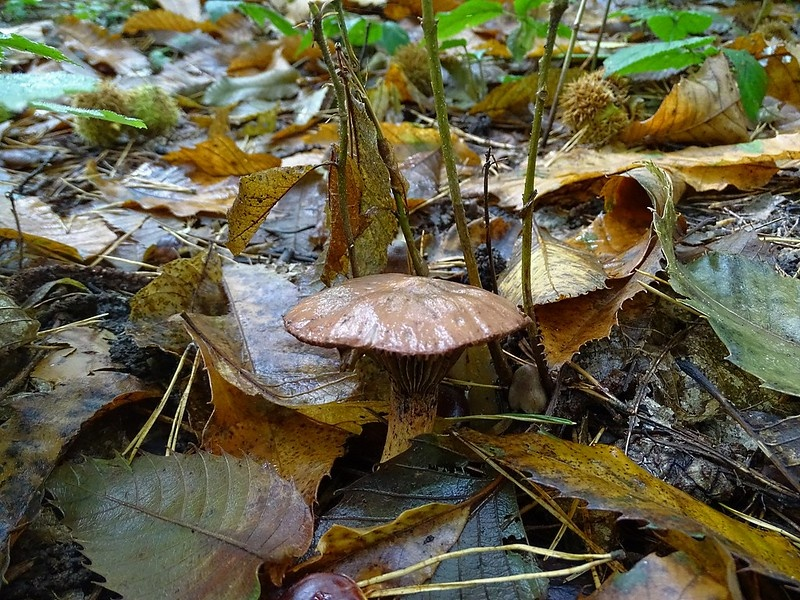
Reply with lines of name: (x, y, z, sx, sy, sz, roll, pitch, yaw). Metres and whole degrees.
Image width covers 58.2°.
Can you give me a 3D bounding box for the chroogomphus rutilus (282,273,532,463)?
chroogomphus rutilus: (0.027, 0.155, 2.272, 0.570, 0.466, 0.471, -30, 50, -21)
